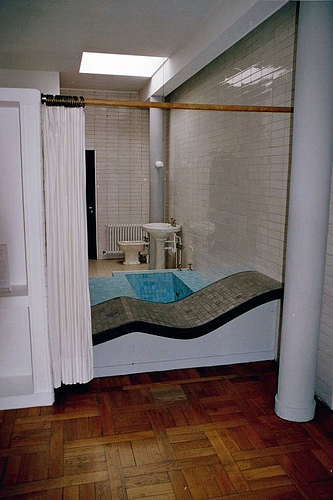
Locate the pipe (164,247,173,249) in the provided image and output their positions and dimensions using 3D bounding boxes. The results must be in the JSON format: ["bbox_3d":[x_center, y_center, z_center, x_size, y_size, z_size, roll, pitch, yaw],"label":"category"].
[{"bbox_3d":[0.013,-0.017,2.715,0.064,0.012,0.023,1,3,2],"label":"pipe"}]

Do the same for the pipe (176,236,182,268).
[{"bbox_3d":[0.098,-0.004,2.723,0.029,0.202,0.052,0,3,-26],"label":"pipe"}]

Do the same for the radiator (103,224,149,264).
[{"bbox_3d":[-0.370,-0.095,2.938,0.313,0.253,0.036,-4,9,-29],"label":"radiator"}]
